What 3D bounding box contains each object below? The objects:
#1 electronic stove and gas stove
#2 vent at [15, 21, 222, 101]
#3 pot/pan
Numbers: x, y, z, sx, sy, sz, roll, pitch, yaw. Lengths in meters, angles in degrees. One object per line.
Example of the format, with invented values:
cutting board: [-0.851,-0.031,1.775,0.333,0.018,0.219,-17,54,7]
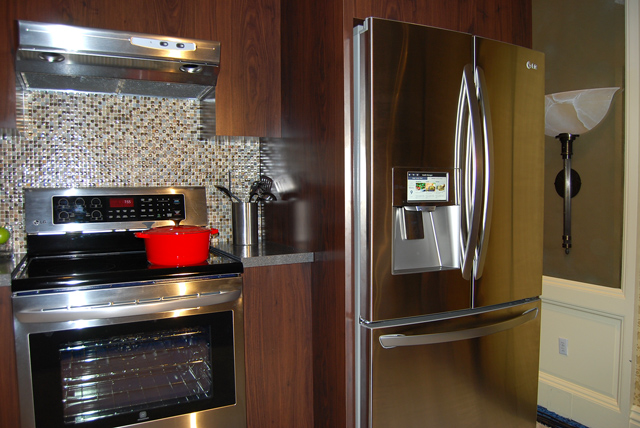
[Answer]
electronic stove and gas stove: [-1.177,0.298,2.802,1.179,0.148,0.646,9,1,-27]
vent: [-1.206,-0.915,3.116,1.122,0.267,0.606,-6,-2,-30]
pot/pan: [-0.850,0.140,2.949,0.367,0.227,0.383,15,9,39]
